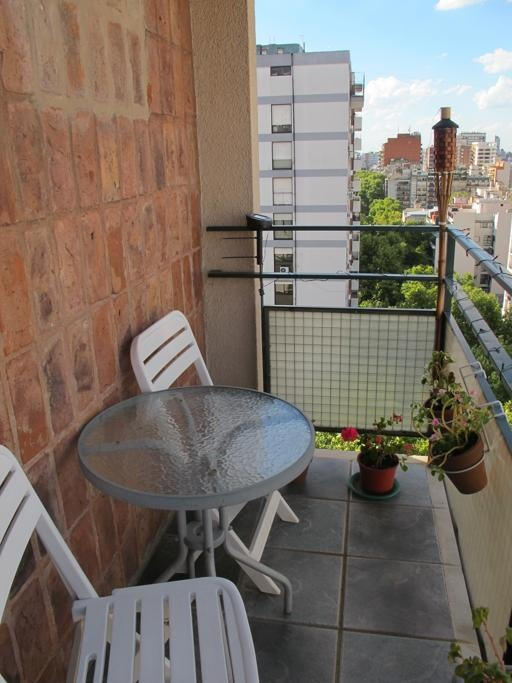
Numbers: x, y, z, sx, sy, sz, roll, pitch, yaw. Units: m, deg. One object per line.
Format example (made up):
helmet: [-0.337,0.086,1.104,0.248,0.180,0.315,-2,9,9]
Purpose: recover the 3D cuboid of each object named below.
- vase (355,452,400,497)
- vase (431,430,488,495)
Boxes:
vase: [0.505,0.551,2.080,0.150,0.120,0.157,0,18,5]
vase: [0.607,0.352,1.510,0.154,0.167,0.158,-16,18,44]
